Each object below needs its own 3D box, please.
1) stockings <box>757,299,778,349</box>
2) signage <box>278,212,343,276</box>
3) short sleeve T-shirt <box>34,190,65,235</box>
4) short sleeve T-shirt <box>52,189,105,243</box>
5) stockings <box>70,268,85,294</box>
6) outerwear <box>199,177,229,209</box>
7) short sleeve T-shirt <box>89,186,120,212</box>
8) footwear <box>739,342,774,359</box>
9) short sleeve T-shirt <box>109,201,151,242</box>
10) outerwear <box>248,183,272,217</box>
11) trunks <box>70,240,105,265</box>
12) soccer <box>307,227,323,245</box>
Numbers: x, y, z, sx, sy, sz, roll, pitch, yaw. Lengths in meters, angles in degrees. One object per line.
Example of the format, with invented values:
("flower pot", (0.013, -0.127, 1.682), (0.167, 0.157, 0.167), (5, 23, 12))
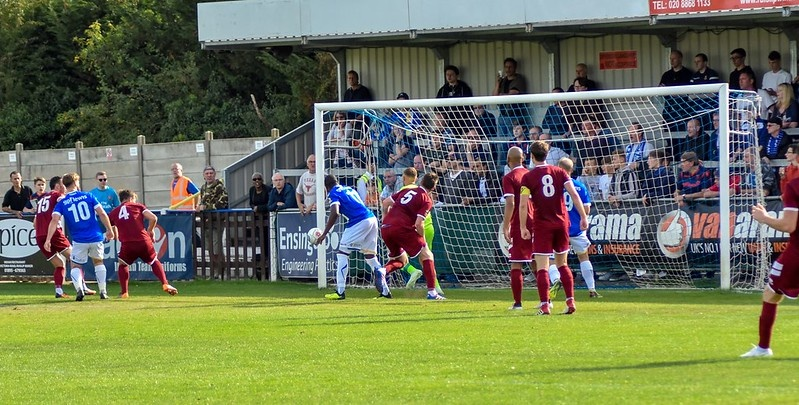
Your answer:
("stockings", (9.446, 3.198, 31.713), (0.469, 0.945, 0.449), (-2, -1, 15))
("signage", (-2.737, 1.271, 38.810), (2.249, 1.547, 0.169), (1, 3, 21))
("short sleeve T-shirt", (-10.796, 0.323, 37.985), (1.514, 1.380, 0.806), (3, 3, 42))
("short sleeve T-shirt", (-9.864, 0.444, 37.583), (1.501, 1.397, 0.812), (-11, 13, 10))
("stockings", (-9.846, 2.385, 37.653), (0.355, 0.756, 0.587), (-2, -1, -14))
("outerwear", (-6.171, -0.238, 40.947), (1.340, 1.143, 0.870), (0, -8, 5))
("short sleeve T-shirt", (-9.554, -0.091, 39.749), (0.922, 0.935, 0.357), (-3, 6, -9))
("footwear", (9.165, 3.902, 31.610), (0.863, 0.318, 0.300), (0, -2, -1))
("short sleeve T-shirt", (-8.274, 0.628, 37.684), (1.268, 1.127, 0.641), (-5, 9, 6))
("outerwear", (-4.553, -0.057, 40.125), (0.993, 1.156, 0.700), (-3, -16, 12))
("trunks", (-9.581, 1.488, 37.675), (1.258, 0.864, 0.663), (-2, 6, -17))
("soccer", (-2.500, 1.016, 36.647), (0.354, 0.426, 0.543), (-2, -1, -12))
